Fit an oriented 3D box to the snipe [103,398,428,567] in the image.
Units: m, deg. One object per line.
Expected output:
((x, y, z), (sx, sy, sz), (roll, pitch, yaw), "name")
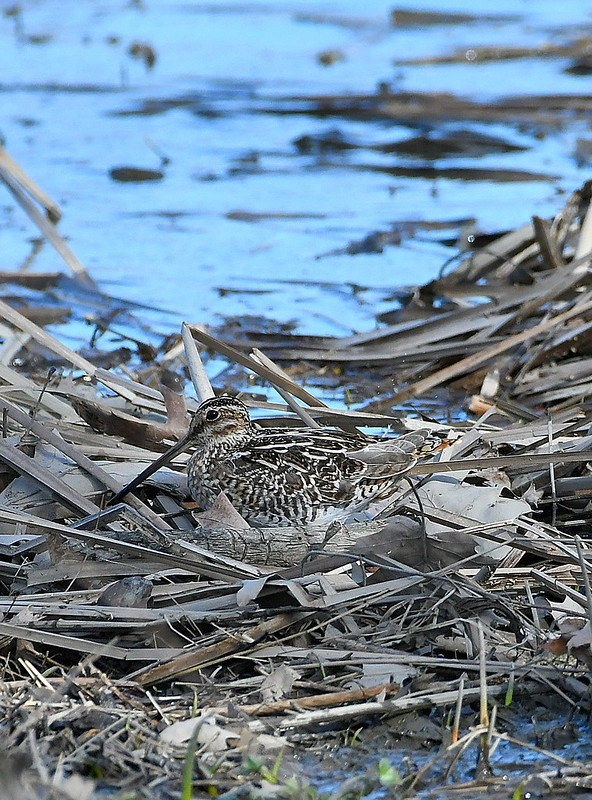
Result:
((-0.058, 0.265, 4.127), (1.278, 0.538, 0.626), (-9, 17, -1), "snipe")
